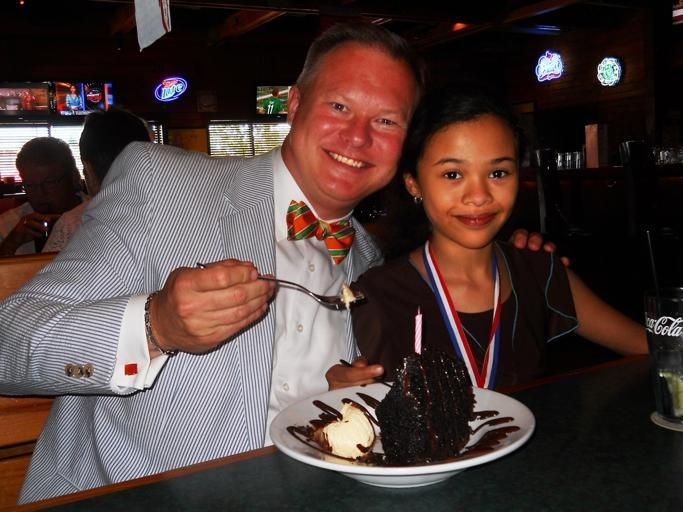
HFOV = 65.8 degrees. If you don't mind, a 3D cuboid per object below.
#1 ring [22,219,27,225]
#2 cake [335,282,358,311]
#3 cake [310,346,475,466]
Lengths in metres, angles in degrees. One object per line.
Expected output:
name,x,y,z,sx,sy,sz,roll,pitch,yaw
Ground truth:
ring,-2.067,-0.221,3.426,0.048,0.041,0.012,4,3,33
cake,0.019,0.137,1.737,0.031,0.088,0.103,14,-22,3
cake,0.172,0.359,1.406,0.393,0.232,0.340,-2,3,-29
